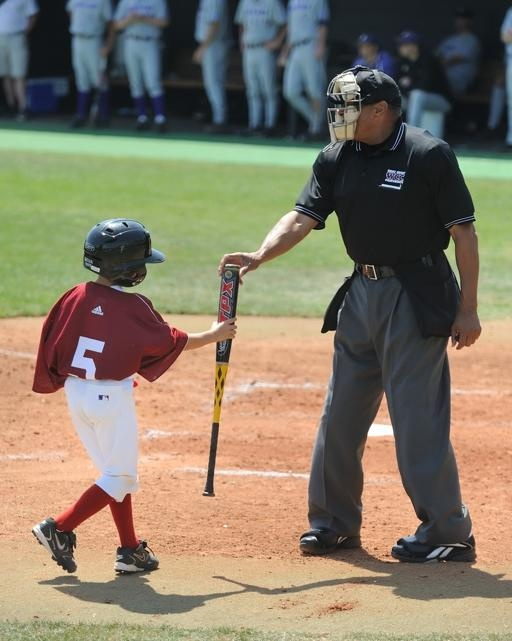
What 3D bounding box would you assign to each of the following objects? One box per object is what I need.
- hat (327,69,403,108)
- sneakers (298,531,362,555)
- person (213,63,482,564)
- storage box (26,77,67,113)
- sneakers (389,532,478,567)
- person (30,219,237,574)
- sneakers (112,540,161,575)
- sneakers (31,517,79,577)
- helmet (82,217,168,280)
[{"bbox_3d":[0.421,-0.904,4.054,0.305,0.106,0.173,-2,25,-3],"label":"hat"},{"bbox_3d":[0.294,0.879,4.234,0.257,0.058,0.084,2,21,-29],"label":"sneakers"},{"bbox_3d":[0.455,0.001,4.076,0.918,1.907,0.481,17,20,41],"label":"person"},{"bbox_3d":[-1.593,-1.670,7.978,0.478,0.231,0.222,-1,-4,-16],"label":"storage box"},{"bbox_3d":[0.686,0.892,4.147,0.357,0.120,0.105,2,7,-1],"label":"sneakers"},{"bbox_3d":[-0.567,0.295,3.873,0.518,1.308,0.646,11,16,25],"label":"person"},{"bbox_3d":[-0.443,0.874,3.884,0.077,0.080,0.206,6,4,42],"label":"sneakers"},{"bbox_3d":[-0.717,0.806,3.774,0.152,0.221,0.121,2,14,-8],"label":"sneakers"},{"bbox_3d":[-0.500,-0.275,3.890,0.241,0.167,0.332,24,26,35],"label":"helmet"}]
